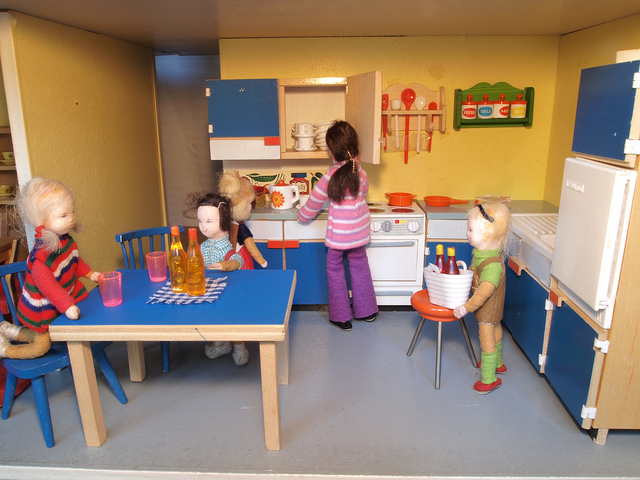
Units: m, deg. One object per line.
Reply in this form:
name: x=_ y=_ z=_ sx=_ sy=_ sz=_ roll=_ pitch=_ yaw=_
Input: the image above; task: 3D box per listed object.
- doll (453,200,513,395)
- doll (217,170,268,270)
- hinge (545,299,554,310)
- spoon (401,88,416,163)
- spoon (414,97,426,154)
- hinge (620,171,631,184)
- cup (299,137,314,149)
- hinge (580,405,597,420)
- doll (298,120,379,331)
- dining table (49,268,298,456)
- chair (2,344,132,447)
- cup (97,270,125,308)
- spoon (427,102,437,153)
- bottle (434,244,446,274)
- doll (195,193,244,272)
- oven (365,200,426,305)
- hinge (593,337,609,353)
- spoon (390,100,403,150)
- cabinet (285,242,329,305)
doll: x=1.056 y=0.362 z=3.255 sx=0.458 sy=1.193 sz=0.479 roll=7 pitch=16 yaw=7
doll: x=-0.591 y=-0.163 z=3.618 sx=0.342 sy=0.724 sz=0.365 roll=7 pitch=12 yaw=0
hinge: x=1.443 y=0.410 z=3.132 sx=0.054 sy=0.053 sz=0.042 roll=1 pitch=6 yaw=12
spoon: x=0.759 y=-1.001 z=4.380 sx=0.121 sy=0.646 sz=0.231 roll=3 pitch=18 yaw=19
spoon: x=0.873 y=-1.034 z=4.387 sx=0.090 sy=0.409 sz=0.046 roll=4 pitch=20 yaw=5
hinge: x=1.538 y=-0.318 z=2.504 sx=0.054 sy=0.052 sz=0.012 roll=-2 pitch=9 yaw=-4
cup: x=-0.122 y=-0.838 z=4.284 sx=0.113 sy=0.081 sz=0.084 roll=2 pitch=13 yaw=2
hinge: x=1.492 y=0.959 z=2.770 sx=0.089 sy=0.082 sz=0.061 roll=-1 pitch=-1 yaw=14
doll: x=0.156 y=-0.099 z=3.942 sx=0.602 sy=1.632 sz=0.371 roll=-1 pitch=17 yaw=5
dining table: x=-0.872 y=0.513 z=3.482 sx=1.367 sy=1.016 sz=1.665 roll=0 pitch=27 yaw=-10
chair: x=-1.595 y=0.767 z=3.052 sx=0.604 sy=0.492 sz=0.661 roll=3 pitch=12 yaw=42
cup: x=-1.156 y=0.264 z=2.816 sx=0.193 sy=0.206 sz=0.191 roll=1 pitch=9 yaw=0
spoon: x=0.985 y=-1.025 z=4.425 sx=0.071 sy=0.361 sz=0.053 roll=8 pitch=16 yaw=21
bottle: x=0.773 y=0.114 z=3.182 sx=0.075 sy=0.184 sz=0.213 roll=2 pitch=17 yaw=15
doll: x=-0.700 y=-0.038 z=3.312 sx=0.287 sy=0.523 sz=0.314 roll=5 pitch=17 yaw=-5
oven: x=0.646 y=0.130 z=4.361 sx=0.745 sy=1.020 sz=0.721 roll=-1 pitch=7 yaw=2
hinge: x=1.514 y=0.564 z=2.678 sx=0.068 sy=0.065 sz=0.068 roll=-1 pitch=9 yaw=11
spoon: x=0.673 y=-1.006 z=4.348 sx=0.110 sy=0.424 sz=0.123 roll=-4 pitch=17 yaw=-3
cabinet: x=-0.112 y=0.239 z=4.029 sx=0.511 sy=0.665 sz=0.368 roll=0 pitch=6 yaw=1
